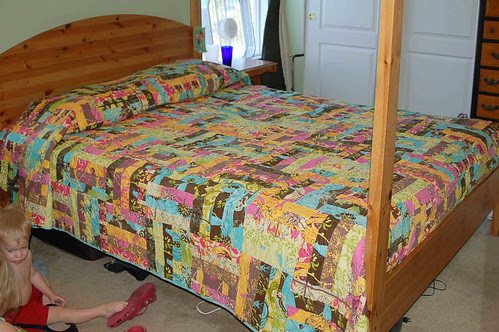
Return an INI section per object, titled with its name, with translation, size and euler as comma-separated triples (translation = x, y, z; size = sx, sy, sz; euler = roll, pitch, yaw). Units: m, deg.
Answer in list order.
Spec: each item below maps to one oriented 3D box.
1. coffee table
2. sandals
[coffee table]
translation = 0.013, -1.058, 4.725
size = 0.426, 0.334, 0.349
euler = 12, 30, 25
[sandals]
translation = -0.747, 0.908, 2.889
size = 0.163, 0.100, 0.331
euler = 11, 40, 37
